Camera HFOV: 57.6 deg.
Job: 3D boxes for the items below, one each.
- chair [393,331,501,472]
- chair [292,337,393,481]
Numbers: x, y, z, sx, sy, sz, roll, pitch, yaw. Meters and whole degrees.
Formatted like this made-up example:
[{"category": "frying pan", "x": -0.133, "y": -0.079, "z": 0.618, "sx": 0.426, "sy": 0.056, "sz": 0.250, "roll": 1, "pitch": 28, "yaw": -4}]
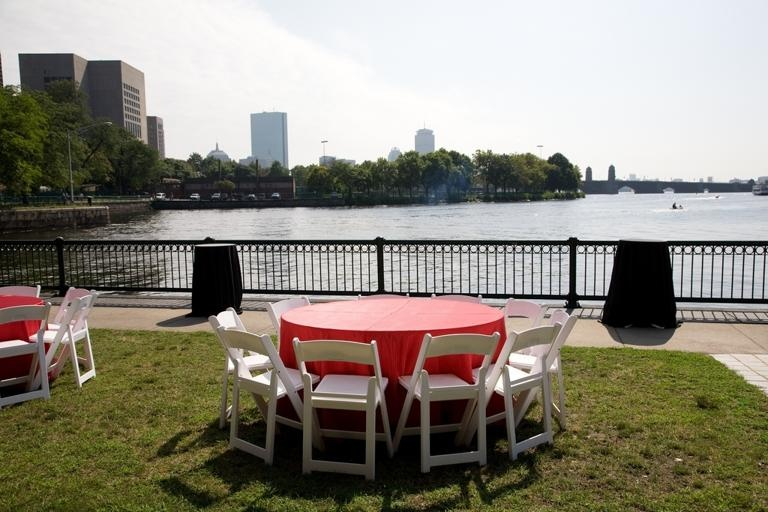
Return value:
[{"category": "chair", "x": 0.803, "y": 1.764, "z": 8.797, "sx": 1.238, "sy": 1.704, "sz": 0.642, "roll": -2, "pitch": 7, "yaw": -10}, {"category": "chair", "x": -0.480, "y": 1.837, "z": 8.703, "sx": 1.187, "sy": 1.689, "sz": 0.742, "roll": -1, "pitch": 7, "yaw": 0}]
